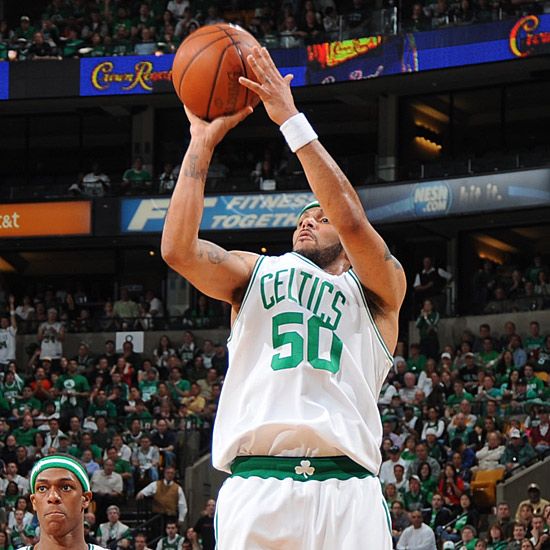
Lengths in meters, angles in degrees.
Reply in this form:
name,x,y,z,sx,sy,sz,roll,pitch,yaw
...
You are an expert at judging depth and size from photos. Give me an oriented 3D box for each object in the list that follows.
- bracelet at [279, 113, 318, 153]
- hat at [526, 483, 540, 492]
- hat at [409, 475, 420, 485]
name,x,y,z,sx,sy,sz,roll,pitch,yaw
bracelet,0.263,-1.562,16.942,0.406,0.453,0.166,-1,-3,-1
hat,4.287,3.553,25.400,0.199,0.145,0.322,-2,5,11
hat,2.352,3.480,25.935,0.090,0.116,0.118,6,31,17
